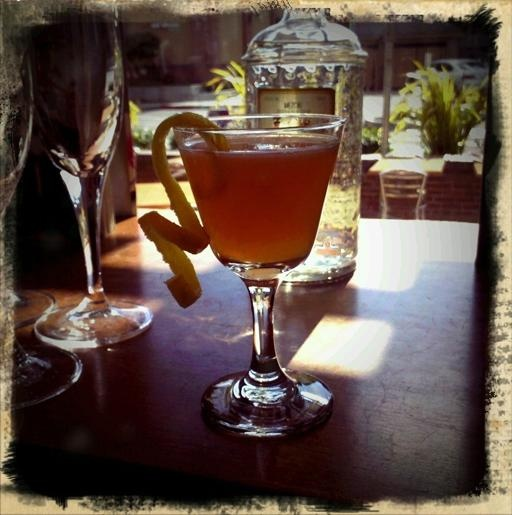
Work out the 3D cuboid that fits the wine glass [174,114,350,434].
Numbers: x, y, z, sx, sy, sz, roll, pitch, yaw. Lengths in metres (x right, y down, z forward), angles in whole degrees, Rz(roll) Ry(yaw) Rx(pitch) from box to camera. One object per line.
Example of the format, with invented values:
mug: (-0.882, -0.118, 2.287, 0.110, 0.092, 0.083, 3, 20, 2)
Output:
wine glass: (0.002, 0.000, 0.434, 0.134, 0.223, 0.169, 0, 16, 7)
